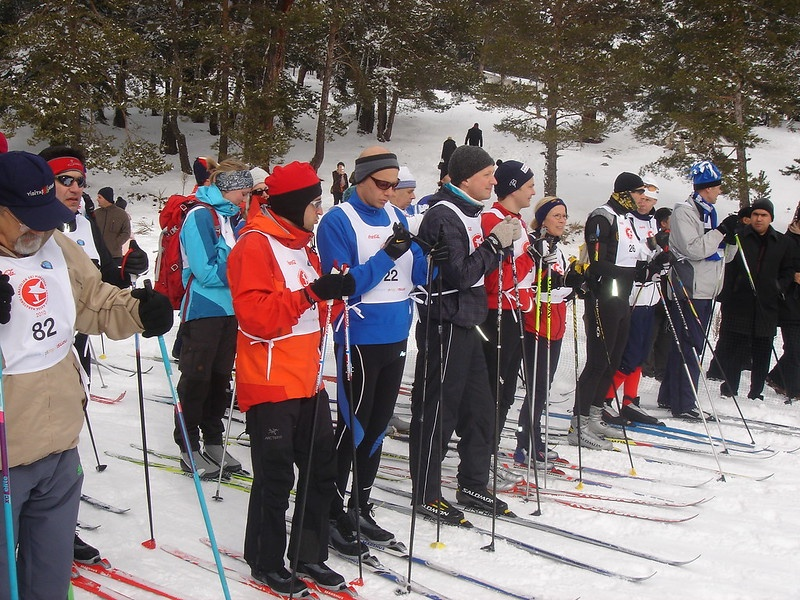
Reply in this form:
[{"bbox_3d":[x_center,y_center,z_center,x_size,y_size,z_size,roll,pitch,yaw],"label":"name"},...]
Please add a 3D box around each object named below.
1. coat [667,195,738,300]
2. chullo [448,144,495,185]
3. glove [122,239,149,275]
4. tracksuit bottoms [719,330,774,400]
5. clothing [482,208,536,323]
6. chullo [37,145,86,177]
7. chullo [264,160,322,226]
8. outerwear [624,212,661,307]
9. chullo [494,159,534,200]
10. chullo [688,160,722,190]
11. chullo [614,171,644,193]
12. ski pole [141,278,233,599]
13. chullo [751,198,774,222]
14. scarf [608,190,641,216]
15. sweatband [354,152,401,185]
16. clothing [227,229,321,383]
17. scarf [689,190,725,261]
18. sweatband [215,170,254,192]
[{"bbox_3d":[3.417,-0.636,8.481,1.024,1.550,1.104,-1,8,21],"label":"coat"},{"bbox_3d":[0.538,-1.018,5.391,0.311,0.256,0.299,-4,13,8],"label":"chullo"},{"bbox_3d":[-1.594,-0.255,4.344,0.175,0.233,0.085,-1,4,-8],"label":"glove"},{"bbox_3d":[4.082,0.747,8.556,0.529,0.330,1.098,13,47,13],"label":"tracksuit bottoms"},{"bbox_3d":[0.838,-0.252,5.678,0.494,0.907,0.736,2,16,11],"label":"clothing"},{"bbox_3d":[-2.273,-0.961,4.933,0.279,0.233,0.210,-18,26,-17],"label":"chullo"},{"bbox_3d":[-0.659,-0.710,4.702,0.395,0.430,0.322,-4,14,-7],"label":"chullo"},{"bbox_3d":[2.384,-0.387,7.155,0.373,1.040,0.467,8,34,20],"label":"outerwear"},{"bbox_3d":[0.875,-0.988,5.830,0.324,0.285,0.242,-17,16,6],"label":"chullo"},{"bbox_3d":[3.368,-1.397,7.951,0.352,0.304,0.259,-18,25,-11],"label":"chullo"},{"bbox_3d":[2.246,-1.159,7.160,0.267,0.209,0.188,3,19,8],"label":"chullo"},{"bbox_3d":[-1.554,1.045,5.391,0.168,2.033,0.304,-17,2,-3],"label":"ski pole"},{"bbox_3d":[4.397,-1.122,8.670,0.228,0.239,0.299,17,-9,42],"label":"chullo"},{"bbox_3d":[2.175,-0.954,7.066,0.259,0.255,0.193,-5,5,-4],"label":"scarf"},{"bbox_3d":[-0.178,-0.905,5.011,0.260,0.144,0.204,4,19,27],"label":"sweatband"},{"bbox_3d":[-0.762,-0.108,4.463,0.552,0.722,0.452,1,7,-22],"label":"clothing"},{"bbox_3d":[3.397,-0.815,7.996,0.230,0.694,0.507,-7,6,-11],"label":"scarf"},{"bbox_3d":[-1.365,-0.986,5.998,0.246,0.151,0.183,-15,15,-43],"label":"sweatband"}]
